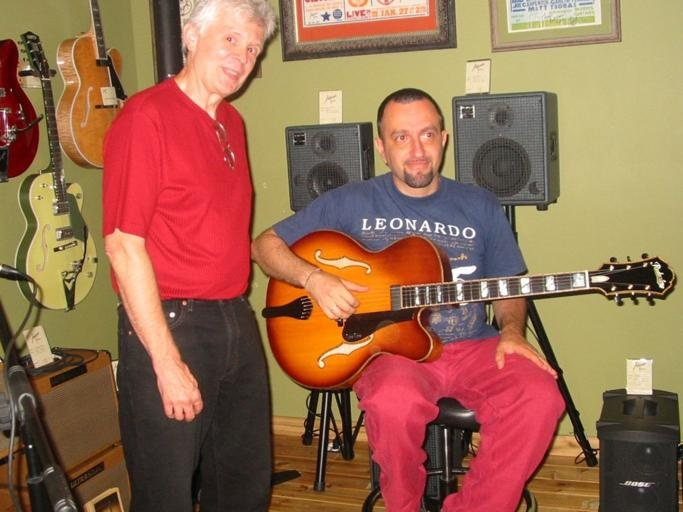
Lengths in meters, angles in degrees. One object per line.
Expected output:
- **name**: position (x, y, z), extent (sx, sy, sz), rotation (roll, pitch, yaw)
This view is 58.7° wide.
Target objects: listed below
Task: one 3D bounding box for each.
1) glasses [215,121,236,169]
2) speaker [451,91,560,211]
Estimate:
- **glasses**: position (-0.377, -0.354, 1.981), extent (0.035, 0.147, 0.085), rotation (-14, 33, 11)
- **speaker**: position (0.745, -0.473, 2.962), extent (0.452, 0.545, 0.303), rotation (-2, -2, 0)
